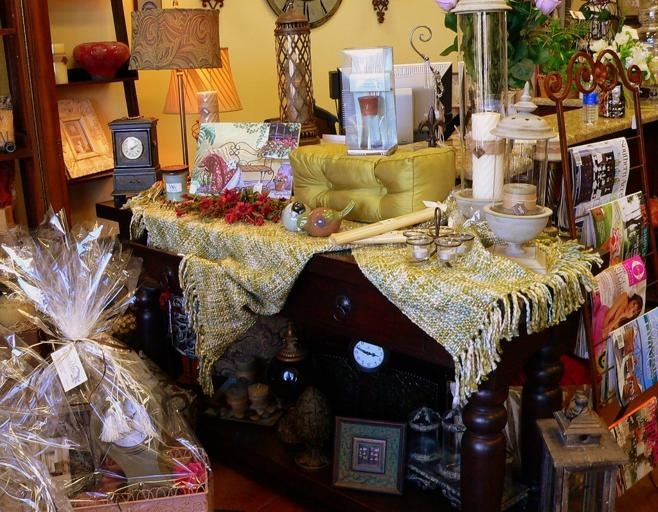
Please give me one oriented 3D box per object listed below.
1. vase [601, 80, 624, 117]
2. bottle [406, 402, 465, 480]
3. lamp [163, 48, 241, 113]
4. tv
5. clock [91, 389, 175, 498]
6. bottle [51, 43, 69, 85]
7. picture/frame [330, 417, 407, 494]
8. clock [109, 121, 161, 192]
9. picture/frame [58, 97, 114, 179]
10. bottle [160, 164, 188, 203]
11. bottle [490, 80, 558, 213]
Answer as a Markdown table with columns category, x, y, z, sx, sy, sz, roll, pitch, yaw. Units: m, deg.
| category | x | y | z | sx | sy | sz | roll | pitch | yaw |
| --- | --- | --- | --- | --- | --- | --- | --- | --- | --- |
| vase | 1.396 | -0.772 | 2.527 | 0.106 | 0.171 | 0.110 | -7 | 13 | -31 |
| bottle | 0.348 | 0.576 | 1.662 | 0.087 | 0.230 | 0.219 | -13 | 14 | -42 |
| lamp | -0.790 | -1.060 | 3.208 | 0.512 | 0.460 | 0.598 | -9 | 19 | -21 |
| tv | 0.244 | -0.586 | 1.949 | 0.491 | 0.315 | 0.538 | -3 | 12 | 5 |
| clock | -0.500 | 0.453 | 1.273 | 0.193 | 0.254 | 0.069 | -2 | 10 | 8 |
| bottle | -1.486 | -1.059 | 2.820 | 0.054 | 0.233 | 0.144 | -7 | 11 | -20 |
| picture/frame | 0.134 | 0.664 | 1.698 | 0.211 | 0.249 | 0.017 | 2 | -3 | 13 |
| clock | -0.773 | -0.400 | 2.031 | 0.162 | 0.296 | 0.120 | -4 | 22 | -18 |
| picture/frame | -1.443 | -0.708 | 3.037 | 0.347 | 0.466 | 0.279 | -14 | 14 | -42 |
| bottle | -0.581 | -0.275 | 1.933 | 0.100 | 0.122 | 0.110 | -4 | 16 | -10 |
| bottle | 0.522 | -0.281 | 1.430 | 0.116 | 0.262 | 0.121 | 13 | 2 | 0 |
